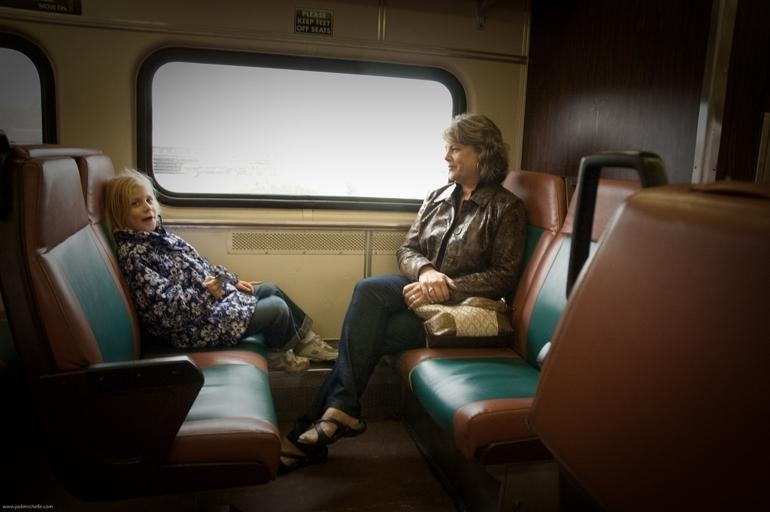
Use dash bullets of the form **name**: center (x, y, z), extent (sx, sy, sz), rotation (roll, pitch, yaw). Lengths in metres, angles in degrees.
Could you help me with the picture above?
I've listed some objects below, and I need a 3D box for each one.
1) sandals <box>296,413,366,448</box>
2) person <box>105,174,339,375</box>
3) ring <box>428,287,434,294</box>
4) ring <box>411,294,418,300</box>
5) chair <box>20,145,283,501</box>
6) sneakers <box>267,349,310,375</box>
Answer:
- **sandals**: center (-0.248, 0.814, 2.670), extent (0.380, 0.166, 0.128), rotation (-1, 2, -33)
- **person**: center (-0.892, 0.092, 3.201), extent (1.174, 1.212, 0.621), rotation (-3, 8, -22)
- **ring**: center (0.236, 0.177, 2.837), extent (0.030, 0.029, 0.007), rotation (5, -8, 22)
- **ring**: center (0.151, 0.215, 2.860), extent (0.029, 0.018, 0.030), rotation (-7, 44, 7)
- **chair**: center (-0.867, 0.164, 2.151), extent (0.832, 1.181, 0.874), rotation (-3, 16, -12)
- **sneakers**: center (-0.536, 0.579, 2.996), extent (0.182, 0.069, 0.115), rotation (5, -1, -8)
